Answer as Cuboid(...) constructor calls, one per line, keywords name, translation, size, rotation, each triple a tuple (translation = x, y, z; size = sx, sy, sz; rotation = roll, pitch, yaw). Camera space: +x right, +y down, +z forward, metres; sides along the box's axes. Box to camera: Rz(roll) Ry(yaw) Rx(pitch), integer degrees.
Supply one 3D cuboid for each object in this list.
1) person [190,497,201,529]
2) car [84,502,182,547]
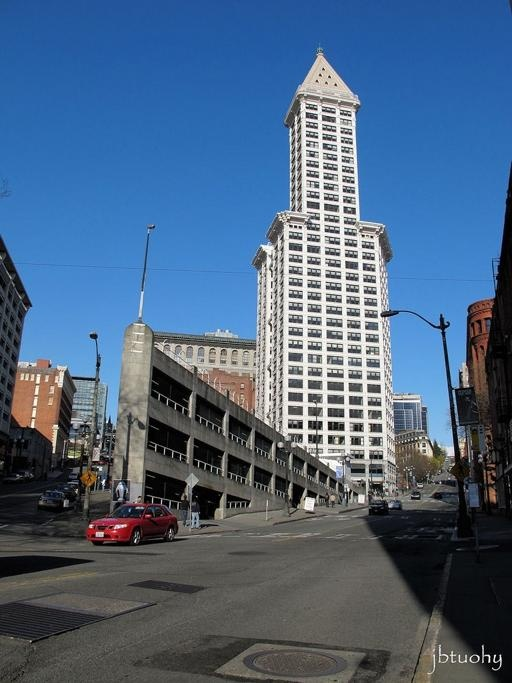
Cuboid(name="person", translation=(-3.303, 9.261, 30.203), size=(0.426, 1.301, 1.393), rotation=(4, -15, -9))
Cuboid(name="car", translation=(-4.324, 6.600, 20.462), size=(1.433, 1.203, 3.393), rotation=(-11, -28, 20))
